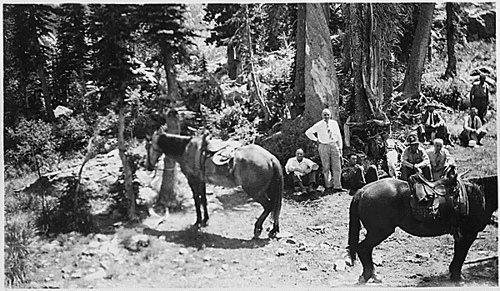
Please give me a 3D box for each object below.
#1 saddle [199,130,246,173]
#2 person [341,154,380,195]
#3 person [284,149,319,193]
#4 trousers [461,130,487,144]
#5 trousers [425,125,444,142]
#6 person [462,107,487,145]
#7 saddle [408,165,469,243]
[{"bbox_3d":[-0.779,0.103,12.774,1.188,0.580,0.899,28,48,30],"label":"saddle"},{"bbox_3d":[3.032,0.846,12.981,0.676,0.864,1.425,6,18,-32],"label":"person"},{"bbox_3d":[1.476,0.718,13.198,0.895,1.224,0.277,-3,3,3],"label":"person"},{"bbox_3d":[6.447,-0.264,13.346,0.677,0.391,0.175,-3,3,-3],"label":"trousers"},{"bbox_3d":[5.298,-0.344,13.464,0.463,0.437,0.147,5,-1,8],"label":"trousers"},{"bbox_3d":[6.427,-0.562,13.378,0.655,1.086,0.351,-4,3,-13],"label":"person"},{"bbox_3d":[4.676,1.385,11.463,1.482,1.713,0.396,-4,3,-15],"label":"saddle"}]
